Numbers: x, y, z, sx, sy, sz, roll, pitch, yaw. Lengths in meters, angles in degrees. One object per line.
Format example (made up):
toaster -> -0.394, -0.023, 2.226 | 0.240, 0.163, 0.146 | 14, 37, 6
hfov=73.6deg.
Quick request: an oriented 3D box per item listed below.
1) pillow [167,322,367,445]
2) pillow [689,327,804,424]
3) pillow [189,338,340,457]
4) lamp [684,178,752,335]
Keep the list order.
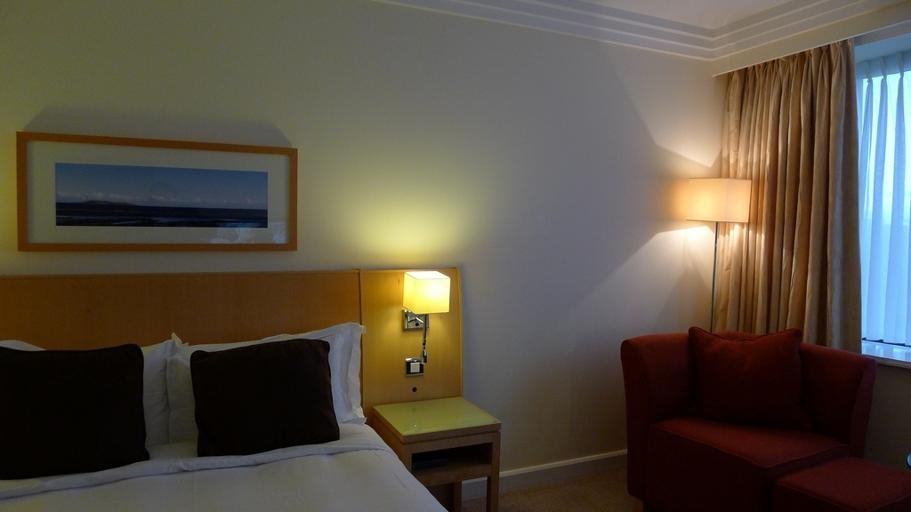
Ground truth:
pillow -> -1.336, 0.882, 4.139 | 0.819, 0.500, 0.126 | -7, -21, -31
pillow -> 2.277, 0.965, 4.763 | 0.719, 0.625, 0.269 | 1, -16, 16
pillow -> -1.293, 0.934, 4.108 | 0.913, 0.691, 0.383 | -1, 3, -20
lamp -> 2.414, -0.009, 5.629 | 0.535, 1.411, 0.406 | -2, 3, -22
